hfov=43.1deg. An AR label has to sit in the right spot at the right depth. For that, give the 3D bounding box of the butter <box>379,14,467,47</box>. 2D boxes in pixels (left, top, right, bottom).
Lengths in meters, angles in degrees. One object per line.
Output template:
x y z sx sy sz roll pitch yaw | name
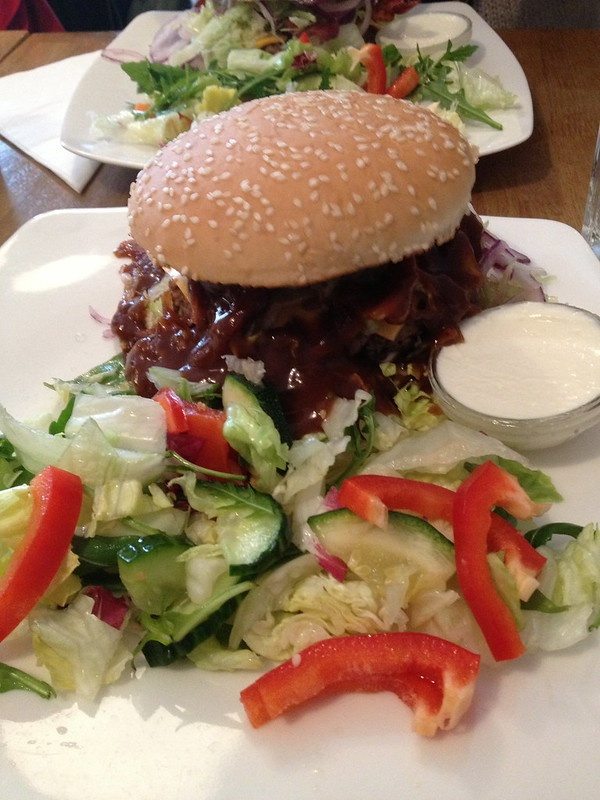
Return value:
0.537 -1.615 3.316 0.322 0.106 0.278 -9 36 5 | butter
